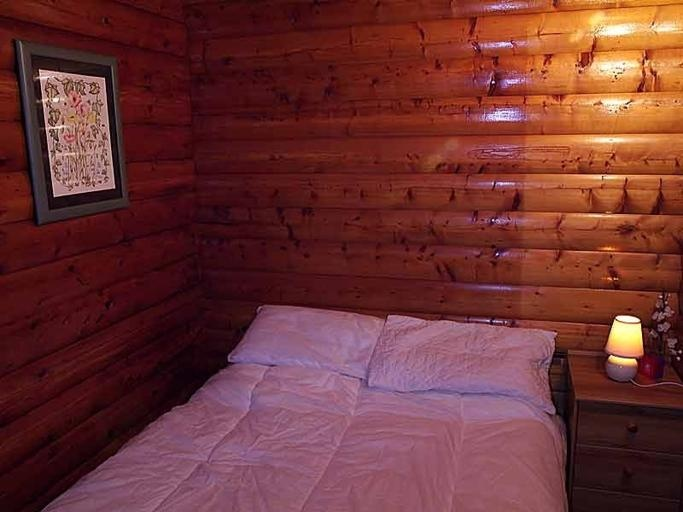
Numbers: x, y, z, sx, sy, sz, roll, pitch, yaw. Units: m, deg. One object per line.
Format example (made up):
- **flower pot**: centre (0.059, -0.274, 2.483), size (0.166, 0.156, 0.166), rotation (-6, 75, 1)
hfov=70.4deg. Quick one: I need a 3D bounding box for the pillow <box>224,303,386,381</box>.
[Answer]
- **pillow**: centre (-0.199, 0.534, 3.156), size (0.811, 0.176, 0.455), rotation (4, 35, 15)
